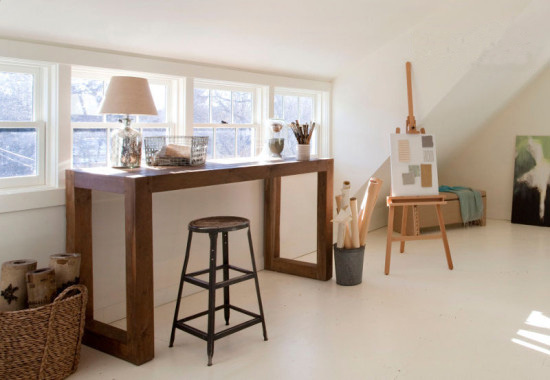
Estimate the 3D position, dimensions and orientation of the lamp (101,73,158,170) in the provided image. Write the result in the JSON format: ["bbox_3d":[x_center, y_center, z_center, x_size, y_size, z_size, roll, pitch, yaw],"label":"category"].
[{"bbox_3d":[-1.187,-0.523,3.181,0.414,0.719,0.435,1,0,-3],"label":"lamp"}]

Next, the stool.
[{"bbox_3d":[-0.414,0.737,3.024,0.601,0.966,0.688,2,3,26],"label":"stool"}]

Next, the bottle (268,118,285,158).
[{"bbox_3d":[0.015,-0.527,3.955,0.163,0.376,0.185,0,10,0],"label":"bottle"}]
